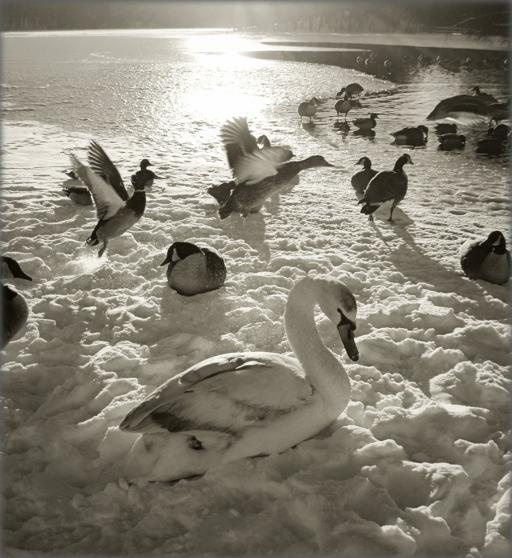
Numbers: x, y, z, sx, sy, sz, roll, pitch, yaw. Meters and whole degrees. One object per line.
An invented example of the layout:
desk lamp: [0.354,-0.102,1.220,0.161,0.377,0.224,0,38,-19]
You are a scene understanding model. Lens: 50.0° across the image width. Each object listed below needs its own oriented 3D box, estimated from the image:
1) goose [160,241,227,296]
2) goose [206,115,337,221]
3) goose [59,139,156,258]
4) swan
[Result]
goose: [-0.603,-0.172,5.498,0.723,0.454,0.667,-6,22,-14]
goose: [0.064,-1.431,7.165,1.326,1.294,1.321,2,15,-6]
goose: [-1.457,-0.852,5.699,0.867,1.189,0.779,-11,29,-27]
swan: [-0.106,0.583,3.492,1.629,1.022,0.947,-1,12,-14]
